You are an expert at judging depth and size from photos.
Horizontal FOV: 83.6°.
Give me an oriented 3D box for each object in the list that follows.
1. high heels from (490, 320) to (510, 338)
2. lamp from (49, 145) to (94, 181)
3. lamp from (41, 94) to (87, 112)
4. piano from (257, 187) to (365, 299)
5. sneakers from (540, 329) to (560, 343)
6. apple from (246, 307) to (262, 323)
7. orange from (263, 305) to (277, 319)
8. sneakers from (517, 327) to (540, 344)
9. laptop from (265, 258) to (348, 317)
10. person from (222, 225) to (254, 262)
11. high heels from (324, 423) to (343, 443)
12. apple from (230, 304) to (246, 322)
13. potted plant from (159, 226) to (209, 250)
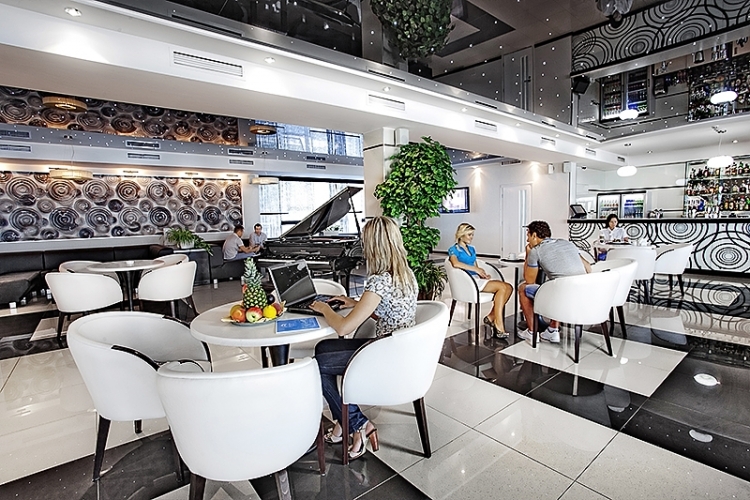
[{"bbox_3d":[1.790,1.162,6.012,0.251,0.102,0.138,3,2,44],"label":"high heels"},{"bbox_3d":[-6.735,-1.826,9.286,0.789,0.533,0.769,0,5,-37],"label":"lamp"},{"bbox_3d":[-5.967,-2.867,8.055,0.594,0.286,0.708,-7,10,-30],"label":"lamp"},{"bbox_3d":[-0.941,-0.262,8.632,2.241,2.327,1.715,2,4,17],"label":"piano"},{"bbox_3d":[2.428,1.174,5.769,0.138,0.133,0.308,-1,1,6],"label":"sneakers"},{"bbox_3d":[-1.098,0.588,3.822,0.127,0.132,0.153,6,-6,-3],"label":"apple"},{"bbox_3d":[-0.979,0.578,3.902,0.110,0.129,0.116,-8,-15,35],"label":"orange"},{"bbox_3d":[2.150,1.212,5.954,0.135,0.128,0.286,-8,16,-21],"label":"sneakers"},{"bbox_3d":[-0.753,0.367,4.256,0.558,0.385,0.630,2,8,19],"label":"laptop"},{"bbox_3d":[-3.432,-0.181,10.572,0.759,0.941,0.682,1,13,-33],"label":"person"},{"bbox_3d":[-0.405,1.827,4.184,0.248,0.092,0.139,3,-4,0],"label":"high heels"},{"bbox_3d":[-1.284,0.589,3.897,0.136,0.136,0.212,-6,10,-24],"label":"apple"},{"bbox_3d":[-4.924,-0.290,10.595,1.060,0.397,0.817,3,3,39],"label":"potted plant"}]
